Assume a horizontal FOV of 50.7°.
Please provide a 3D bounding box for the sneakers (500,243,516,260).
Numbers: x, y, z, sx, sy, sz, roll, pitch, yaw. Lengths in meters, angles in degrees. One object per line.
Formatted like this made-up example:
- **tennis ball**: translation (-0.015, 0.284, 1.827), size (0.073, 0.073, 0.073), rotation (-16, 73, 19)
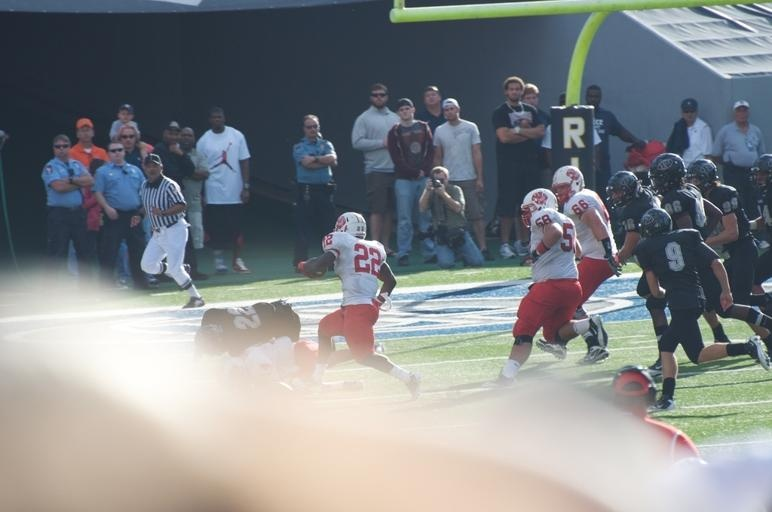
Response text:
- **sneakers**: translation (1.984, -0.073, 13.479), size (0.128, 0.168, 0.375), rotation (-3, -3, -12)

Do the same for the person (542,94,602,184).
- **person**: translation (2.092, -1.142, 8.918), size (0.560, 0.777, 0.567), rotation (2, -10, -11)

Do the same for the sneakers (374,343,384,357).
- **sneakers**: translation (-0.073, 0.951, 8.196), size (0.088, 0.117, 0.112), rotation (1, 6, 26)

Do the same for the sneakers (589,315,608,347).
- **sneakers**: translation (2.036, 0.723, 7.885), size (0.160, 0.370, 0.129), rotation (-16, 15, 19)

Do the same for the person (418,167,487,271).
- **person**: translation (0.980, -0.578, 12.610), size (0.916, 1.578, 0.479), rotation (-1, 7, -1)

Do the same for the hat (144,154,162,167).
- **hat**: translation (-3.191, -1.326, 11.169), size (0.219, 0.178, 0.323), rotation (-2, -16, -6)

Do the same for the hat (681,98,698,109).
- **hat**: translation (5.132, -2.555, 13.790), size (0.239, 0.204, 0.132), rotation (0, 8, 11)

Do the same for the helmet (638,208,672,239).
- **helmet**: translation (2.379, -0.288, 7.189), size (0.226, 0.256, 0.276), rotation (-6, 6, -39)

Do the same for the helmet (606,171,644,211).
- **helmet**: translation (2.303, -0.678, 8.097), size (0.379, 0.338, 0.318), rotation (-12, 11, 41)

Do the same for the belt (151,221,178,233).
- **belt**: translation (-3.029, -0.372, 10.897), size (0.162, 0.111, 0.158), rotation (-22, -1, -23)

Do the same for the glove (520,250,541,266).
- **glove**: translation (1.758, 0.027, 10.017), size (0.099, 0.254, 0.079), rotation (35, 0, 8)

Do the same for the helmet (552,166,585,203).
- **helmet**: translation (1.879, -0.753, 8.385), size (0.387, 0.343, 0.298), rotation (-9, 1, -26)

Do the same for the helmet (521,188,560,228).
- **helmet**: translation (1.451, -0.479, 7.926), size (0.428, 0.364, 0.353), rotation (1, 2, 6)

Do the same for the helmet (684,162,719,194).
- **helmet**: translation (3.351, -0.893, 8.648), size (0.364, 0.318, 0.290), rotation (-15, 22, 13)

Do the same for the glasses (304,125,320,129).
- **glasses**: translation (-1.214, -2.076, 13.127), size (0.208, 0.074, 0.220), rotation (-2, 8, -5)

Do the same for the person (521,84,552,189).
- **person**: translation (2.322, -2.035, 13.461), size (0.532, 1.593, 0.452), rotation (-4, -3, -7)

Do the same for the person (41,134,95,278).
- **person**: translation (-4.573, -0.713, 11.779), size (0.657, 2.028, 0.551), rotation (-4, 8, -20)

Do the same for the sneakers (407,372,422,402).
- **sneakers**: translation (0.239, 1.126, 6.990), size (0.110, 0.236, 0.089), rotation (-1, 25, 11)

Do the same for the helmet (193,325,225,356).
- **helmet**: translation (-1.513, 0.722, 6.993), size (0.262, 0.263, 0.102), rotation (-1, 7, 3)

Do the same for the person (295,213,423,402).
- **person**: translation (-0.266, 0.351, 7.350), size (0.928, 1.423, 1.042), rotation (-5, 8, -25)

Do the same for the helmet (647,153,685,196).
- **helmet**: translation (2.819, -0.836, 8.160), size (0.402, 0.402, 0.325), rotation (-10, 7, 32)

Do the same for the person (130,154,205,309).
- **person**: translation (-2.893, -0.361, 10.892), size (0.508, 1.988, 1.133), rotation (-8, 10, -42)

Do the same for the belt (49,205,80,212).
- **belt**: translation (-4.560, -0.669, 11.583), size (0.412, 0.090, 0.072), rotation (-4, 8, -23)

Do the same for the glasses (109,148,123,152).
- **glasses**: translation (-3.939, -1.544, 11.867), size (0.181, 0.055, 0.094), rotation (-3, 8, -16)

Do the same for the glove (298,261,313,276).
- **glove**: translation (-0.743, 0.114, 7.340), size (0.099, 0.130, 0.292), rotation (-3, 8, -15)

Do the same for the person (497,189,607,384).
- **person**: translation (1.494, 0.249, 7.734), size (1.249, 1.732, 0.579), rotation (-5, 8, -30)

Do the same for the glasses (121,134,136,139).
- **glasses**: translation (-3.839, -1.804, 12.224), size (0.064, 0.056, 0.175), rotation (4, 9, 34)

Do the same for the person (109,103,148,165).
- **person**: translation (-4.000, -1.850, 12.528), size (0.693, 0.888, 0.715), rotation (-11, 21, -41)

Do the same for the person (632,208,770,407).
- **person**: translation (2.616, 0.381, 7.082), size (1.409, 1.548, 0.876), rotation (-4, 8, -24)

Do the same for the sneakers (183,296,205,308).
- **sneakers**: translation (-2.485, 0.609, 10.648), size (0.345, 0.148, 0.118), rotation (-3, 3, 2)

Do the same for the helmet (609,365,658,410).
- **helmet**: translation (1.586, 0.857, 5.336), size (0.236, 0.312, 0.297), rotation (2, 17, 6)

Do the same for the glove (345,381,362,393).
- **glove**: translation (-0.296, 1.175, 7.334), size (0.127, 0.079, 0.090), rotation (2, 2, 17)

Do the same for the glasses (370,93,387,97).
- **glasses**: translation (-0.137, -2.628, 13.284), size (0.237, 0.075, 0.179), rotation (0, 8, 8)

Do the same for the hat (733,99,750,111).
- **hat**: translation (5.870, -2.526, 13.562), size (0.197, 0.089, 0.281), rotation (3, -1, 5)

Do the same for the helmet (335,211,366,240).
- **helmet**: translation (-0.339, -0.305, 7.649), size (0.283, 0.216, 0.209), rotation (6, 2, 37)
